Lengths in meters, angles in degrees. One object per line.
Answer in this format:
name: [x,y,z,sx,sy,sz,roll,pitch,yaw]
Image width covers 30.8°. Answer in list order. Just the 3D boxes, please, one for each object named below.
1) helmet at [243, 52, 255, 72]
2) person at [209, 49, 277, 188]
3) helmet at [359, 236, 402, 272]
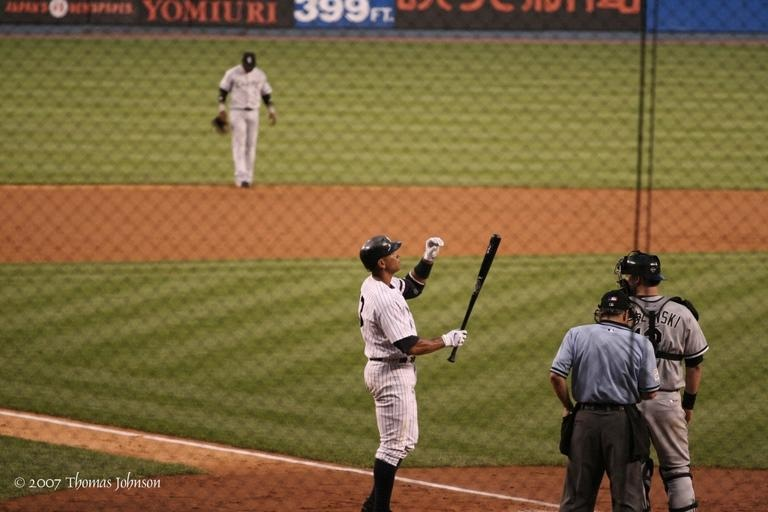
helmet: [-2.471,-3.534,25.443,0.218,0.388,0.304,-1,4,-6]
person: [-2.547,-2.515,25.849,1.018,2.490,1.042,-1,4,-5]
helmet: [-0.083,-0.127,19.867,0.602,0.301,0.415,-37,18,-5]
